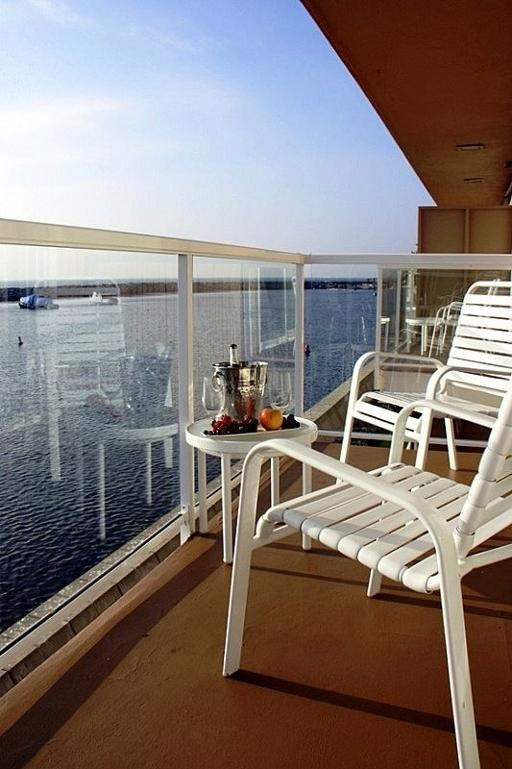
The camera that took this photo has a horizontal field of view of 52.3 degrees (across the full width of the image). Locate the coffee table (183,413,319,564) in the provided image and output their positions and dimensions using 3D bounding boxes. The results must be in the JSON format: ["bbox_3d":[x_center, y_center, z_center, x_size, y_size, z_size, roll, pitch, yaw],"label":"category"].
[{"bbox_3d":[-0.009,0.361,1.807,0.423,0.427,0.450,-3,-5,0],"label":"coffee table"}]

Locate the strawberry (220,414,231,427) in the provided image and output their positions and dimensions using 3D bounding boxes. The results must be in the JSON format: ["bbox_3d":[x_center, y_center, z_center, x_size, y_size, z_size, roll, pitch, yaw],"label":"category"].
[{"bbox_3d":[-0.095,0.112,1.651,0.018,0.031,0.030,9,23,-19],"label":"strawberry"}]

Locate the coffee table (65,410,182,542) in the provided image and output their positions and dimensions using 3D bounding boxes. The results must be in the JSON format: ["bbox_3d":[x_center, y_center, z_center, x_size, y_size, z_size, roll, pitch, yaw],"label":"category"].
[{"bbox_3d":[-0.394,0.204,1.637,0.284,0.260,0.346,4,8,6],"label":"coffee table"}]

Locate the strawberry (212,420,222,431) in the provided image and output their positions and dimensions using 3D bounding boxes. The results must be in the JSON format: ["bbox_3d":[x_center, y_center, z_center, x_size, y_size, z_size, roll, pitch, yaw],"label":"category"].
[{"bbox_3d":[-0.120,0.128,1.612,0.011,0.027,0.027,4,33,-37],"label":"strawberry"}]

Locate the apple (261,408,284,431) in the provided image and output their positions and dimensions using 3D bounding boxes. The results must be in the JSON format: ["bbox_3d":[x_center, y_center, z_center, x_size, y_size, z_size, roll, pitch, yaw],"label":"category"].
[{"bbox_3d":[0.052,0.109,1.690,0.065,0.067,0.065,-3,7,-31],"label":"apple"}]
